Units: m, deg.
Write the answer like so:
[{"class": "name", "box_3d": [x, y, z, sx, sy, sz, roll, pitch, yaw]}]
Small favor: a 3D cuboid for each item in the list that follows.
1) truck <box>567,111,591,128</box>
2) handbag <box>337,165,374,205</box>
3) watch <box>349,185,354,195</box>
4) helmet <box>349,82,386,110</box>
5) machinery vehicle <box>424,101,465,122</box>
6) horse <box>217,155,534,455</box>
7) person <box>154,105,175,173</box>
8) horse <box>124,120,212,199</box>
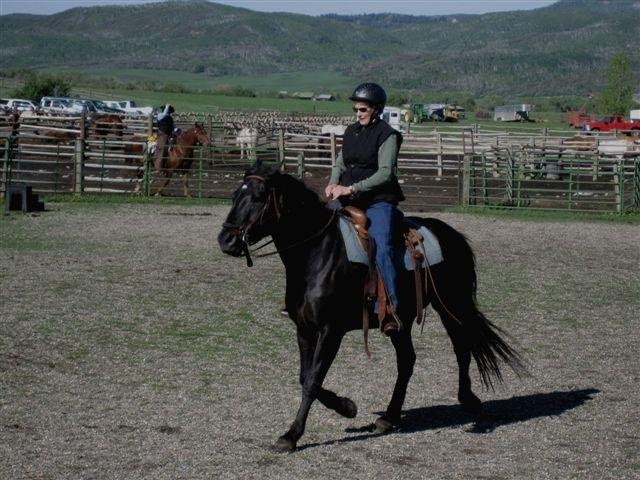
[{"class": "truck", "box_3d": [21.231, -9.737, 74.905, 1.423, 1.619, 2.472, -1, 5, 3]}, {"class": "handbag", "box_3d": [0.395, -0.565, 9.686, 0.347, 0.451, 0.249, 3, -30, 32]}, {"class": "watch", "box_3d": [0.330, -0.515, 9.541, 0.067, 0.087, 0.027, 1, -6, 2]}, {"class": "helmet", "box_3d": [0.514, -1.532, 9.713, 0.336, 0.247, 0.267, -18, 25, -24]}, {"class": "machinery vehicle", "box_3d": [12.449, -12.298, 89.874, 5.611, 1.873, 2.604, -3, 10, -43]}, {"class": "horse", "box_3d": [0.625, 0.810, 10.132, 4.224, 2.827, 0.979, 3, -4, -41]}, {"class": "person", "box_3d": [-4.130, -2.637, 24.523, 0.529, 1.867, 0.974, -1, 14, -9]}, {"class": "horse", "box_3d": [-4.138, -2.149, 25.015, 2.964, 1.961, 0.800, 6, 9, 33]}]
